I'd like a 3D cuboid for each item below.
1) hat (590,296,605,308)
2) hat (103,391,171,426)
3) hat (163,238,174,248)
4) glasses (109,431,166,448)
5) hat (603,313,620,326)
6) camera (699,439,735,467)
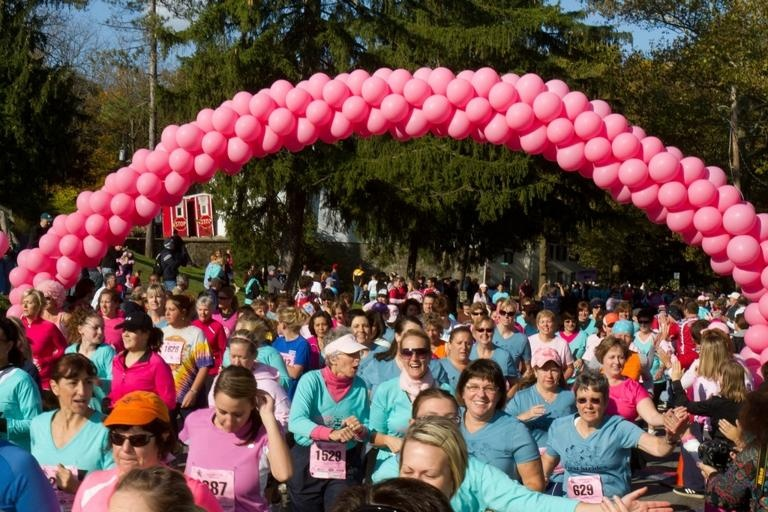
[{"bbox_3d":[4.320,0.915,17.563,0.184,0.262,0.282,5,-19,11],"label":"hat"},{"bbox_3d":[-2.594,1.633,9.254,0.350,0.298,0.472,-12,-15,41],"label":"hat"},{"bbox_3d":[-4.994,-0.304,20.196,0.219,0.293,0.252,9,-7,-16],"label":"hat"},{"bbox_3d":[-2.665,1.914,9.207,0.501,0.150,0.109,1,10,1],"label":"glasses"},{"bbox_3d":[4.137,1.158,15.956,0.224,0.256,0.439,-3,-5,4],"label":"hat"},{"bbox_3d":[3.805,2.232,10.008,0.234,0.343,0.296,2,-5,5],"label":"camera"}]
